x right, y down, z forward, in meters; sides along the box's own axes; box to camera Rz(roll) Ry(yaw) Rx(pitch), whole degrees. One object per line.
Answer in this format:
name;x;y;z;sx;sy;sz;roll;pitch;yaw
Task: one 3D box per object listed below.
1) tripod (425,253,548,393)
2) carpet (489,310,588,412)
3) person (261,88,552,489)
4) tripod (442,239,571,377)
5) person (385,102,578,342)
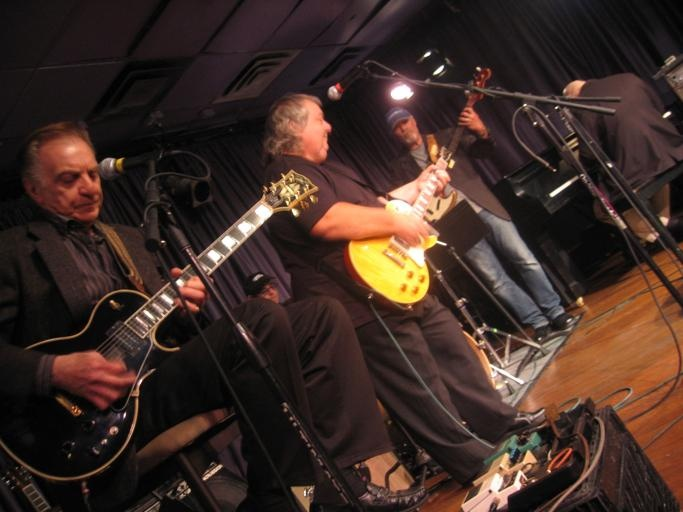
tripod;1.376;0.598;5.319;0.473;1.134;0.421;-46;-19;3
carpet;1.766;0.851;5.261;0.108;0.414;1.464;-41;-37;-27
person;0.168;-0.001;4.172;0.373;3.245;1.286;-34;-19;27
tripod;1.662;0.481;5.646;0.610;1.124;0.548;-28;-18;-47
person;1.342;-0.588;6.170;1.255;3.163;0.362;-29;-7;-21
